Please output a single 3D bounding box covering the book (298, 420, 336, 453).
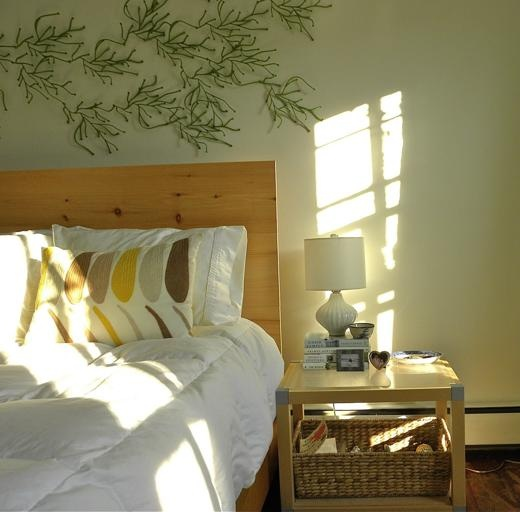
[{"bbox_3d":[0.218,0.684,1.829,0.080,0.067,0.156,0,4,22],"label":"book"}]

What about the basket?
[{"bbox_3d":[0.414,0.701,1.793,0.450,0.189,0.298,-2,-2,2],"label":"basket"}]

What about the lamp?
[{"bbox_3d":[0.334,0.131,2.134,0.241,0.450,0.254,-3,1,13],"label":"lamp"}]

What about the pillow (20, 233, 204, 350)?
[{"bbox_3d":[-0.537,0.116,1.759,0.602,0.440,0.368,5,-5,-10],"label":"pillow"}]
